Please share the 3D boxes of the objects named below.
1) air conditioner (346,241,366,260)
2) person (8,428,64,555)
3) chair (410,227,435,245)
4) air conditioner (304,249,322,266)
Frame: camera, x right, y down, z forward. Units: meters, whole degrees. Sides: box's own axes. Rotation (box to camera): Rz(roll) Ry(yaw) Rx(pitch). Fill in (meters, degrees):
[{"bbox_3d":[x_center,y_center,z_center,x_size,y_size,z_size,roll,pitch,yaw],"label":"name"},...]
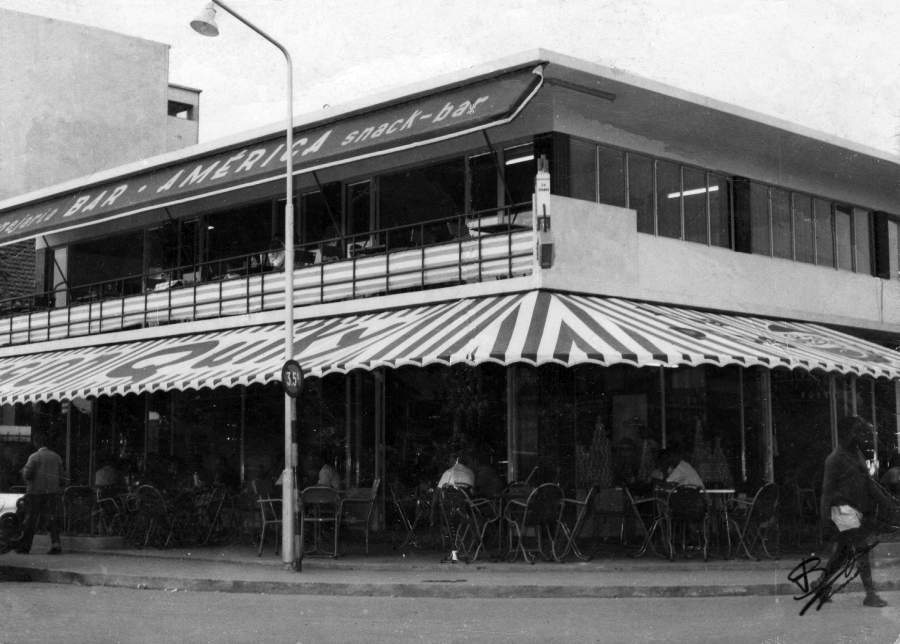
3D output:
[{"bbox_3d":[-2.208,-1.688,34.872,0.325,0.439,0.476,14,-18,-41],"label":"air conditioner"},{"bbox_3d":[-8.737,3.776,31.386,0.861,2.439,1.374,3,-15,-15],"label":"person"},{"bbox_3d":[-0.659,-1.996,34.266,0.460,0.352,0.521,0,2,29],"label":"chair"},{"bbox_3d":[-3.233,-1.543,34.996,0.439,0.508,0.373,1,-8,-1],"label":"air conditioner"}]
